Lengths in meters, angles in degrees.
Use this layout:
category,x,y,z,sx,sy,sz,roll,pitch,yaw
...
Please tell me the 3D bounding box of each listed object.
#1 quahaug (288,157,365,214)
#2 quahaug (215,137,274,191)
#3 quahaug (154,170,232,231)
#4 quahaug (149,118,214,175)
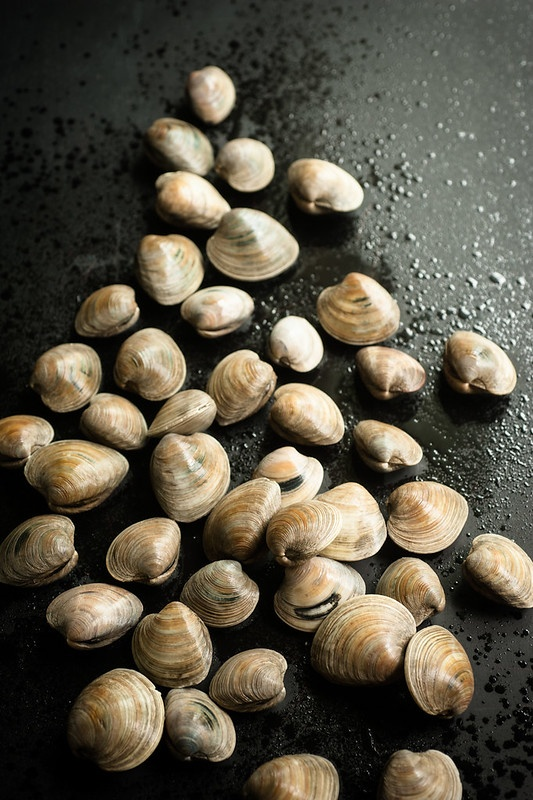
category,x,y,z,sx,sy,sz,roll,pitch,yaw
quahaug,0.122,-0.447,1.597,0.165,0.104,0.091,8,46,5
quahaug,-0.049,-0.506,1.615,0.122,0.085,0.071,-4,46,-6
quahaug,-0.164,-0.398,1.597,0.171,0.057,0.123,15,52,-23
quahaug,-0.175,-0.533,1.637,0.136,0.045,0.107,40,69,-18
